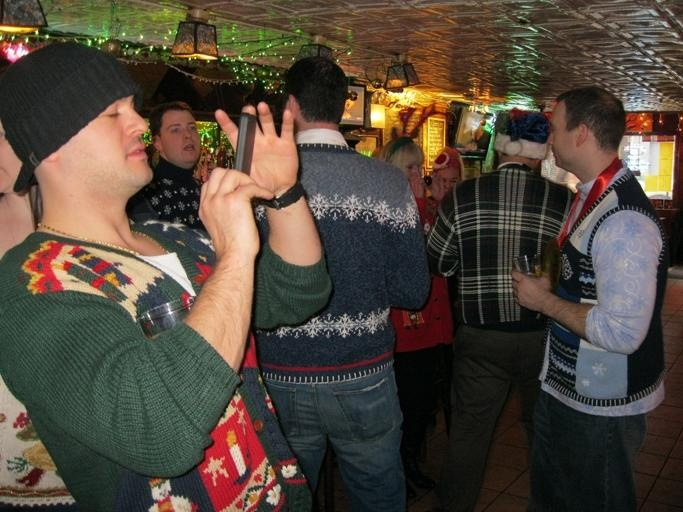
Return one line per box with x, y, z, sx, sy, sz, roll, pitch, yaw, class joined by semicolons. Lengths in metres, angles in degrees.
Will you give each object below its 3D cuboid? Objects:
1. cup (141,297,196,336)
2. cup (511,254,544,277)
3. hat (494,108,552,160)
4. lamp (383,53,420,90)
-0.372;0.127;1.165;0.071;0.062;0.090;-34;2;-25;cup
0.810;0.043;2.344;0.077;0.100;0.115;-5;1;-44;cup
0.960;-0.651;2.893;0.314;0.250;0.280;13;14;40;hat
0.846;-2.622;7.704;0.483;0.561;0.477;-1;18;34;lamp
